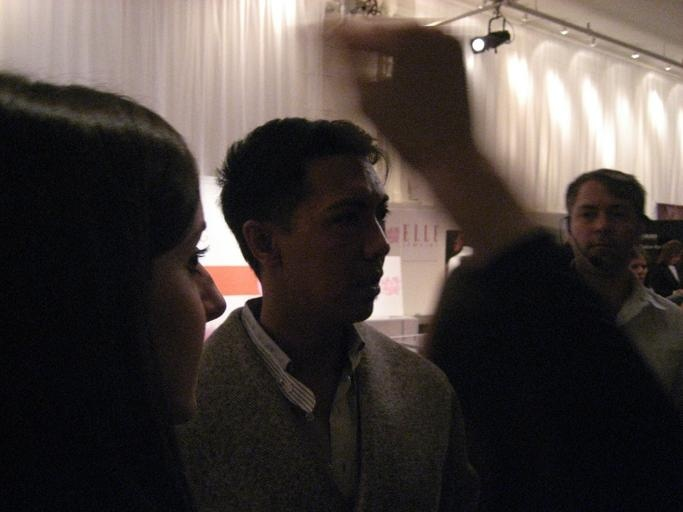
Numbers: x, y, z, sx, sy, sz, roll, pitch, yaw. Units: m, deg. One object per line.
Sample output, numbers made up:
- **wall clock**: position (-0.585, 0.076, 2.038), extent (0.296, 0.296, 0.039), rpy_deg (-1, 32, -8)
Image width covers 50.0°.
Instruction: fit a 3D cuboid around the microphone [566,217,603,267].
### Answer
- **microphone**: position (0.449, -0.025, 1.349), extent (0.025, 0.075, 0.053), rpy_deg (-40, 10, 7)
